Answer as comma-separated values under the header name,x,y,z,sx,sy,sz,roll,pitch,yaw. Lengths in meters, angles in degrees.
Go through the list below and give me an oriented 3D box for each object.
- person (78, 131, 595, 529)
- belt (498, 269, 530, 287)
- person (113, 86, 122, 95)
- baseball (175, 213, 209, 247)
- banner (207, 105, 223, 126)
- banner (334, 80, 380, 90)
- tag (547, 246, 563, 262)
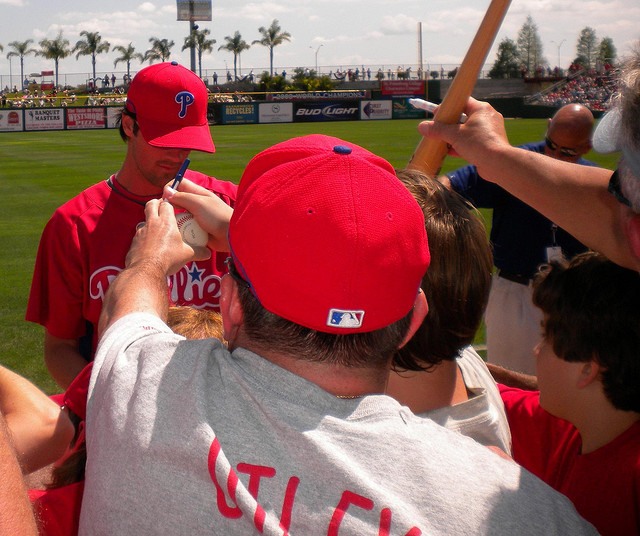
name,x,y,z,sx,sy,sz,roll,pitch,yaw
person,-0.079,0.221,1.363,0.657,0.332,1.157,8,42,-11
belt,1.203,0.057,4.101,0.100,0.033,0.105,19,21,28
person,-15.336,-13.335,50.533,0.472,0.786,1.739,2,19,-15
baseball,-0.387,-0.109,2.019,0.102,0.094,0.118,0,16,-9
banner,-5.053,-7.263,31.683,0.785,0.908,0.823,9,16,23
banner,2.786,-13.378,48.863,2.823,0.588,1.040,3,16,3
tag,1.241,-0.076,3.537,0.061,0.071,0.115,23,3,3
